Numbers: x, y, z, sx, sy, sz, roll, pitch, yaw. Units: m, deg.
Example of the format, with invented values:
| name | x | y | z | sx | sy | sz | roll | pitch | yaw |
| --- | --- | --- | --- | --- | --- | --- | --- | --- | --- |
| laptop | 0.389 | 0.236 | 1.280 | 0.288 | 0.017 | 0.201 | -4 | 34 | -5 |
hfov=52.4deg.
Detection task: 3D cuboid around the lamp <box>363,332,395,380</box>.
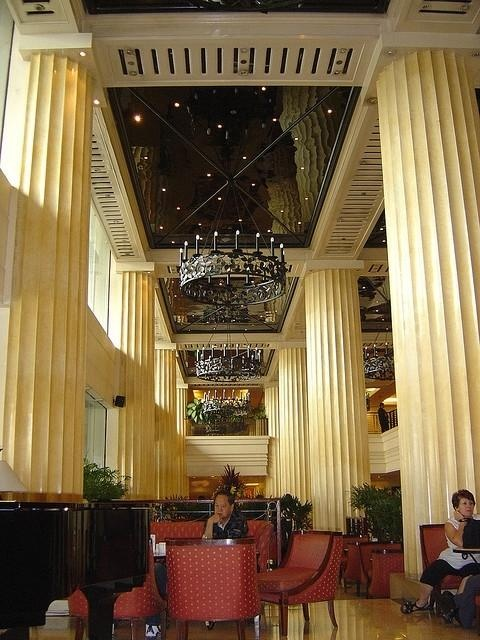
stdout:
| name | x | y | z | sx | sy | sz | roll | pitch | yaw |
| --- | --- | --- | --- | --- | --- | --- | --- | --- | --- |
| lamp | 5.924 | 1.774 | 20.768 | 1.253 | 1.986 | 4.560 | -8 | -18 | 15 |
